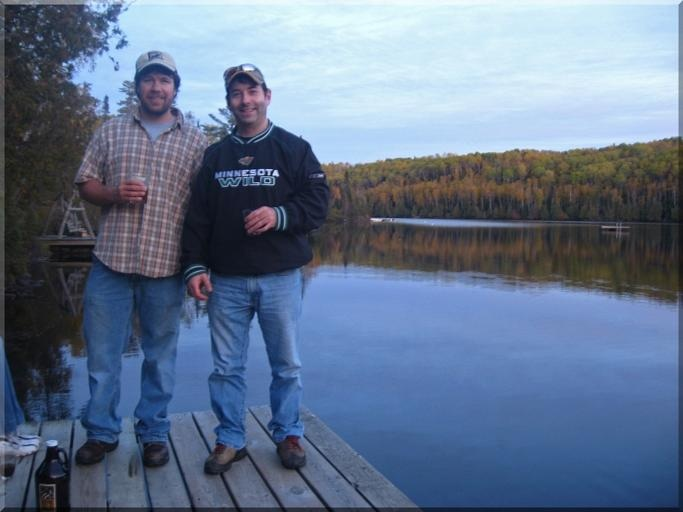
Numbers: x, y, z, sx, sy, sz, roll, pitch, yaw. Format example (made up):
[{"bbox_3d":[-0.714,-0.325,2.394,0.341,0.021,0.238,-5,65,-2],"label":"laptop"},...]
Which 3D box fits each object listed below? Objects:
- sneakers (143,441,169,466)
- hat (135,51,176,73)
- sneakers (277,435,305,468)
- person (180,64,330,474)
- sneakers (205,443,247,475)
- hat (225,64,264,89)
[{"bbox_3d":[-1.134,1.204,3.549,0.143,0.118,0.106,1,6,-25],"label":"sneakers"},{"bbox_3d":[-1.172,-1.225,3.656,0.235,0.174,0.169,6,6,18],"label":"hat"},{"bbox_3d":[-0.305,1.191,3.538,0.089,0.117,0.249,1,-3,-24],"label":"sneakers"},{"bbox_3d":[-0.560,0.041,3.591,0.904,2.449,0.474,3,5,-2],"label":"person"},{"bbox_3d":[-0.713,1.221,3.552,0.098,0.138,0.289,7,-3,22],"label":"sneakers"},{"bbox_3d":[-0.614,-1.134,3.654,0.269,0.173,0.217,3,5,-9],"label":"hat"}]
